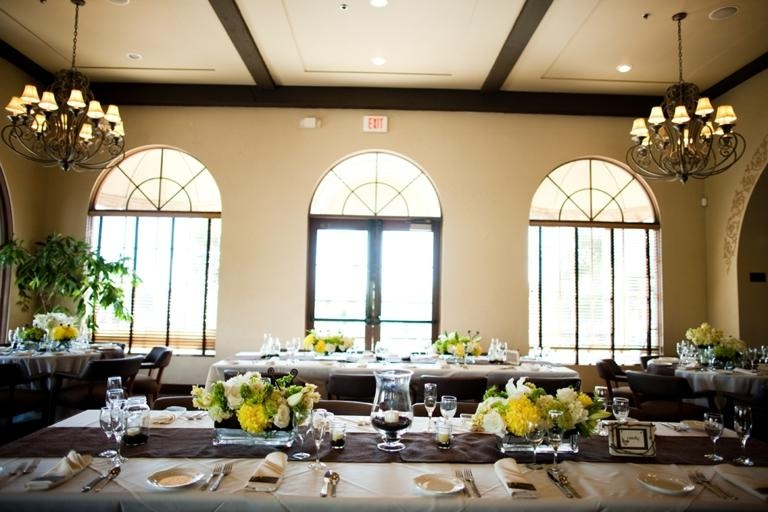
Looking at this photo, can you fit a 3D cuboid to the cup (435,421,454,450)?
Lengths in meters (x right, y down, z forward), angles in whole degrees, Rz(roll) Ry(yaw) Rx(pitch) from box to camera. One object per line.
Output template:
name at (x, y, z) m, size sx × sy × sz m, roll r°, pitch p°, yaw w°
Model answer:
cup at (0.445, 1.302, 3.977) m, size 0.154 × 0.168 × 0.153 m, roll -1°, pitch -1°, yaw 0°

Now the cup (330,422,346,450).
cup at (-0.339, 1.312, 3.994) m, size 0.146 × 0.160 × 0.148 m, roll 0°, pitch -3°, yaw 0°

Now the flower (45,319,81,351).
flower at (-3.982, 1.000, 6.839) m, size 0.386 × 0.367 × 0.375 m, roll 1°, pitch -10°, yaw -4°

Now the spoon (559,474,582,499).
spoon at (1.206, 1.494, 3.525) m, size 0.068 × 0.023 × 0.219 m, roll -2°, pitch 2°, yaw -1°

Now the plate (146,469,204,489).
plate at (-1.336, 1.424, 3.496) m, size 0.338 × 0.084 × 0.173 m, roll 3°, pitch -6°, yaw -21°

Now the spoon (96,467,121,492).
spoon at (-1.767, 1.435, 3.486) m, size 0.059 × 0.031 × 0.229 m, roll 0°, pitch 8°, yaw -8°

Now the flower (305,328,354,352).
flower at (-0.695, 1.057, 6.810) m, size 0.371 × 0.158 × 0.363 m, roll 3°, pitch -1°, yaw -13°

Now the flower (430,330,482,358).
flower at (0.940, 1.109, 6.941) m, size 0.513 × 0.246 × 0.555 m, roll 0°, pitch -7°, yaw 8°

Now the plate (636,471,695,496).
plate at (1.822, 1.474, 3.519) m, size 0.324 × 0.095 × 0.178 m, roll -1°, pitch -6°, yaw 23°
